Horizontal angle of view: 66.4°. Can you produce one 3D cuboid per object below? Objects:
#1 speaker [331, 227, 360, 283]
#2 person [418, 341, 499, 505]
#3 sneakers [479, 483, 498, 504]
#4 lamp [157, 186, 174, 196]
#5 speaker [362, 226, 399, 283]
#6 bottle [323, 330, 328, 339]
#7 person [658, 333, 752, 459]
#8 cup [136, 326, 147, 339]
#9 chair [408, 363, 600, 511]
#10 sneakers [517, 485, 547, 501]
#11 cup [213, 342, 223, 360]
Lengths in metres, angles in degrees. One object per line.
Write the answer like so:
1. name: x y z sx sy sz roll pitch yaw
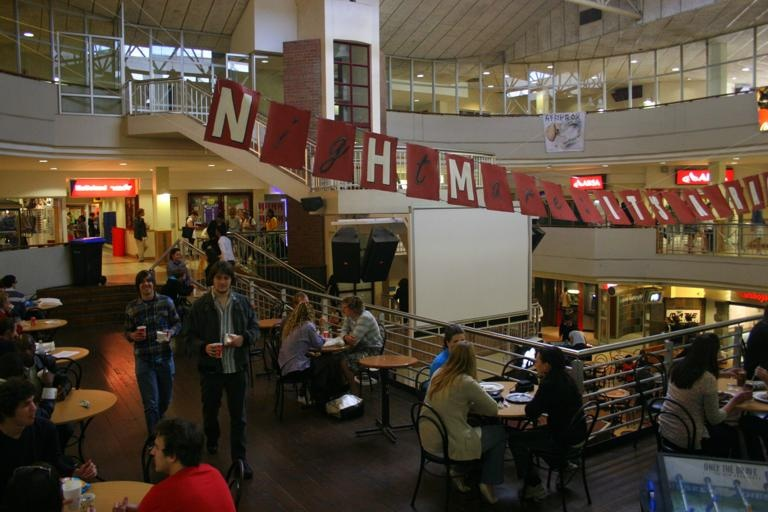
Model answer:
1. speaker: -0.791 0.013 12.241 0.579 1.030 1.015 -1 22 2
2. person: 0.954 2.023 7.150 1.055 1.973 0.476 -1 2 1
3. sneakers: 1.276 2.885 7.120 0.115 0.282 0.154 -14 4 18
4. lamp: -7.510 -2.144 19.841 0.444 0.294 0.267 -3 3 -43
5. speaker: -0.122 -0.081 12.681 0.776 1.402 0.816 5 39 -14
6. bottle: -1.133 1.534 11.406 0.125 0.125 0.228 -4 -1 0
7. person: 3.935 1.762 7.254 1.006 1.646 0.519 -2 2 -27
8. cup: -3.212 1.016 7.765 0.126 0.111 0.126 -1 3 0
9. chair: 1.316 2.034 7.612 2.042 2.017 1.626 -7 12 -27
10. sneakers: 1.822 2.917 7.197 0.328 0.137 0.156 2 -2 -7
11. cup: -2.079 1.213 7.398 0.089 0.211 0.150 -1 2 -7
